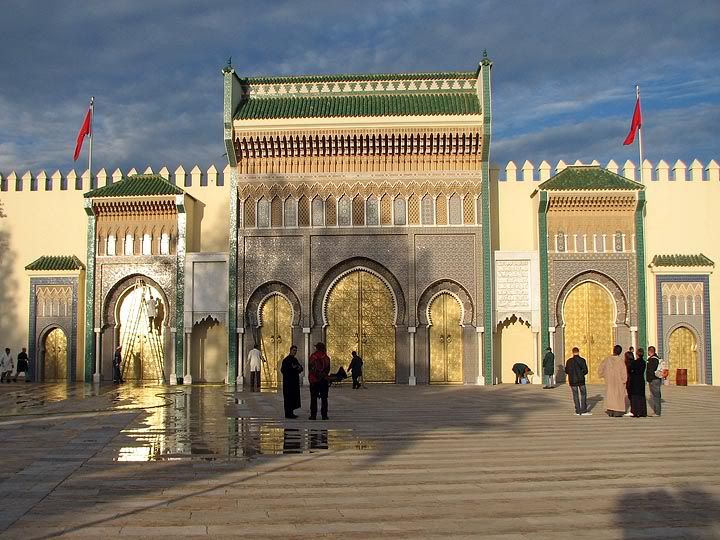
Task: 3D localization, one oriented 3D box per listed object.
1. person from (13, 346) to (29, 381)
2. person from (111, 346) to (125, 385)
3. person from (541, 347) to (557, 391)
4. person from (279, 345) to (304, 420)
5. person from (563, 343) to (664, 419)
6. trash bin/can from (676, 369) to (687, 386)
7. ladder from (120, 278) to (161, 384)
[{"bbox_3d":[-10.531,2.903,30.289,0.380,0.996,0.562,3,-6,-22],"label":"person"},{"bbox_3d":[-7.325,2.823,29.512,0.331,1.133,0.805,2,-5,-13],"label":"person"},{"bbox_3d":[5.353,2.748,27.688,0.365,1.142,1.428,0,-5,10],"label":"person"},{"bbox_3d":[-1.493,2.377,20.919,0.398,1.493,1.358,1,-5,-4],"label":"person"},{"bbox_3d":[5.836,2.565,22.374,1.696,1.376,0.526,-1,-4,21],"label":"person"},{"bbox_3d":[9.402,3.105,28.527,0.299,0.487,0.243,0,-5,5],"label":"trash bin/can"},{"bbox_3d":[-6.709,1.897,29.831,1.422,2.938,0.368,-1,-6,16],"label":"ladder"}]
